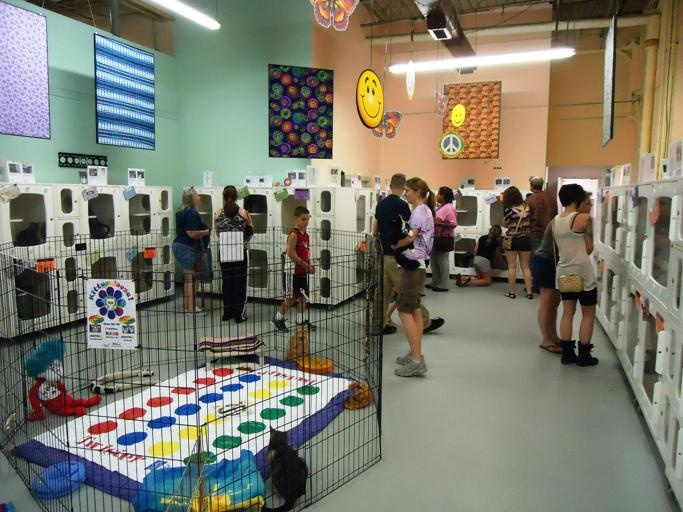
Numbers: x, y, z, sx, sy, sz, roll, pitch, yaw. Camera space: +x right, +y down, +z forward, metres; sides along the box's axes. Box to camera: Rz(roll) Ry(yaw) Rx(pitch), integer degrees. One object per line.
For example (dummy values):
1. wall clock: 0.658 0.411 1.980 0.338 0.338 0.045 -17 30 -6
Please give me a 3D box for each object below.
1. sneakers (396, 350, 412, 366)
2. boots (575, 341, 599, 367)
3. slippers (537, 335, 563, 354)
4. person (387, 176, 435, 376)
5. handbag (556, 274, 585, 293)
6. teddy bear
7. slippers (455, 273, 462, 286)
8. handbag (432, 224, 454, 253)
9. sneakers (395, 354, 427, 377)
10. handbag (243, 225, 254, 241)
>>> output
1. sneakers: 0.674 1.076 5.222 0.078 0.113 0.243 2 -3 -17
2. boots: 2.626 1.048 5.275 0.144 0.285 0.317 3 7 42
3. slippers: 2.423 1.021 5.694 0.109 0.185 0.245 -1 -3 -39
4. person: 0.732 0.206 5.067 0.392 2.016 0.589 0 6 18
5. handbag: 2.355 0.269 5.016 0.167 0.163 0.063 2 4 35
6. teddy bear: -2.258 0.967 3.947 0.516 0.613 0.366 -8 7 -30
7. slippers: 2.147 0.415 8.949 0.070 0.227 0.089 0 8 7
8. handbag: 1.683 -0.317 8.092 0.372 0.588 0.214 0 5 2
9. sneakers: 0.704 1.130 5.080 0.144 0.228 0.456 -7 3 -13
10. handbag: -1.262 -0.326 6.686 0.113 0.181 0.070 1 -11 41
